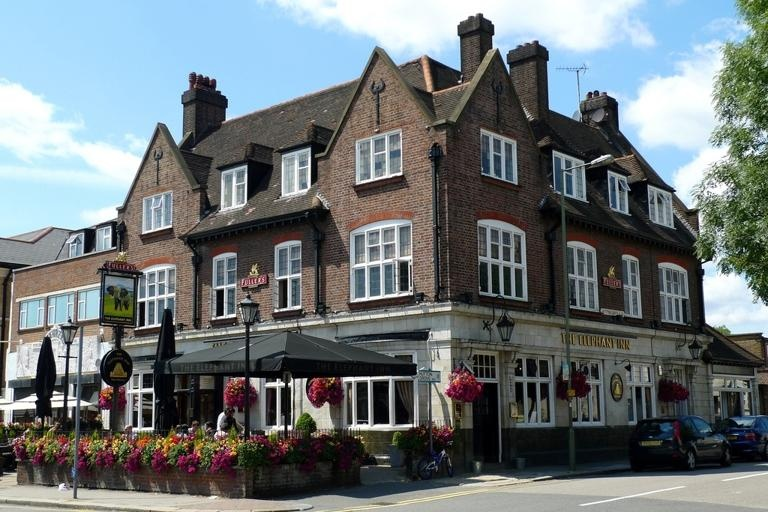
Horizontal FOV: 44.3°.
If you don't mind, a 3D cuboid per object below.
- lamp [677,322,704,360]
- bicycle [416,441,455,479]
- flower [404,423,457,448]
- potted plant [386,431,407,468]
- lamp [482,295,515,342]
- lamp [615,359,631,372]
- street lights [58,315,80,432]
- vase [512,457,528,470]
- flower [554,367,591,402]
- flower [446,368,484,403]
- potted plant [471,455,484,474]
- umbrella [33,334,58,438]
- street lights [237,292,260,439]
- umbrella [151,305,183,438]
[{"bbox_3d":[16.656,4.591,51.457,1.327,1.942,0.689,-7,-18,21],"label":"lamp"},{"bbox_3d":[2.080,8.339,38.498,1.838,1.394,0.753,10,-21,-37],"label":"bicycle"},{"bbox_3d":[1.764,7.487,39.246,1.264,0.668,1.203,-1,-6,-18],"label":"flower"},{"bbox_3d":[0.546,8.232,40.457,0.925,1.390,0.967,2,-9,-14],"label":"potted plant"},{"bbox_3d":[5.033,2.739,41.702,1.234,2.033,0.882,-4,-17,4],"label":"lamp"},{"bbox_3d":[12.078,5.429,47.544,0.212,0.562,1.533,-17,-22,40],"label":"lamp"},{"bbox_3d":[-13.145,4.764,38.975,0.983,4.800,0.967,5,14,-9],"label":"street lights"},{"bbox_3d":[5.983,9.021,41.394,0.511,0.380,0.507,0,0,-29],"label":"vase"},{"bbox_3d":[8.666,5.910,43.658,1.293,0.954,1.433,-4,0,12],"label":"flower"},{"bbox_3d":[3.372,5.473,39.749,1.318,0.811,1.402,-7,-3,-39],"label":"flower"},{"bbox_3d":[3.964,8.908,40.158,0.457,0.495,0.454,1,-1,-42],"label":"potted plant"},{"bbox_3d":[-16.318,6.173,45.313,1.224,4.464,1.090,-4,18,-38],"label":"umbrella"},{"bbox_3d":[-5.109,4.106,35.184,0.879,5.264,0.950,6,-12,-36],"label":"street lights"},{"bbox_3d":[-9.680,5.272,40.761,1.365,5.917,1.215,-11,25,-36],"label":"umbrella"}]
